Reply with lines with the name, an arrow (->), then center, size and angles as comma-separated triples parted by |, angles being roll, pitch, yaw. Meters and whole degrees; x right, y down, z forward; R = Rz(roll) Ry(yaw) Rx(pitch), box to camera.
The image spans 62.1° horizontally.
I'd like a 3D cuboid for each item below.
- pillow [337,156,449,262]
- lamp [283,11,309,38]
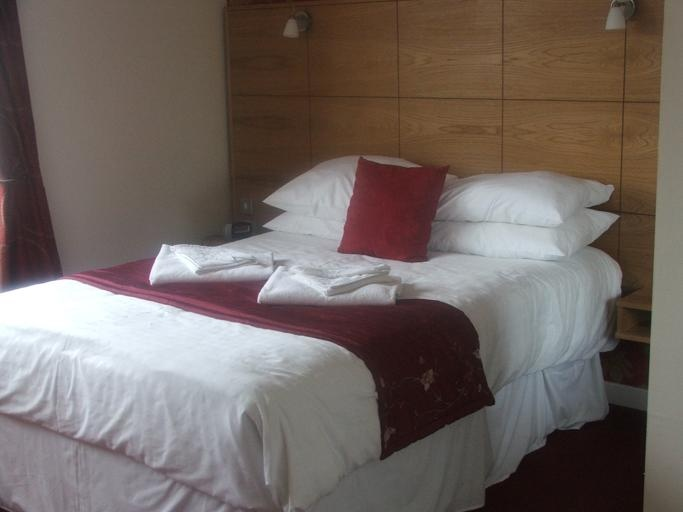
pillow -> 0.259, -0.241, 3.066 | 0.627, 0.604, 0.158 | 20, 15, -25
lamp -> -0.300, -1.570, 3.857 | 0.170, 0.179, 0.167 | 3, 10, -2
